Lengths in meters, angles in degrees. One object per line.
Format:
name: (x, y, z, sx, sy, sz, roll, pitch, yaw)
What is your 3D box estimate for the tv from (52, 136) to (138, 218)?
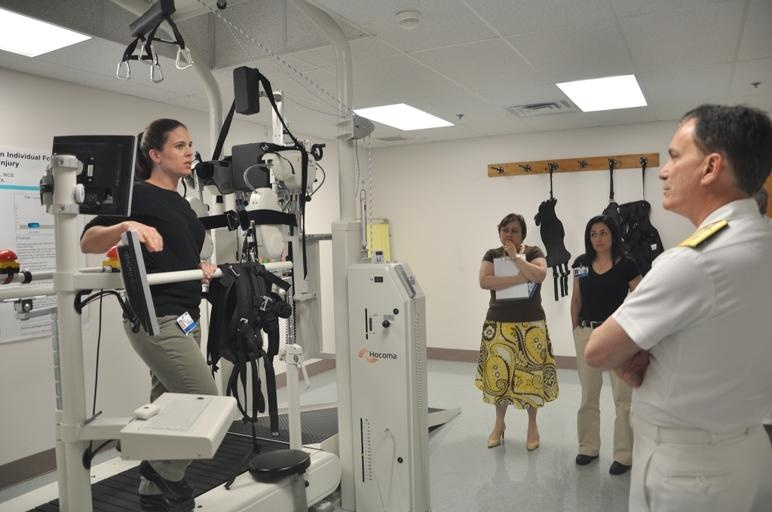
tv: (-1.452, -0.398, 2.792, 0.410, 0.384, 0.130, 3, 5, 2)

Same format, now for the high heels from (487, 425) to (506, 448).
high heels: (1.019, 1.601, 5.026, 0.097, 0.147, 0.288, -2, 2, 33)

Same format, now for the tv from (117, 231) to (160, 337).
tv: (-1.248, 0.134, 2.851, 0.098, 0.419, 0.570, -14, 11, -16)
